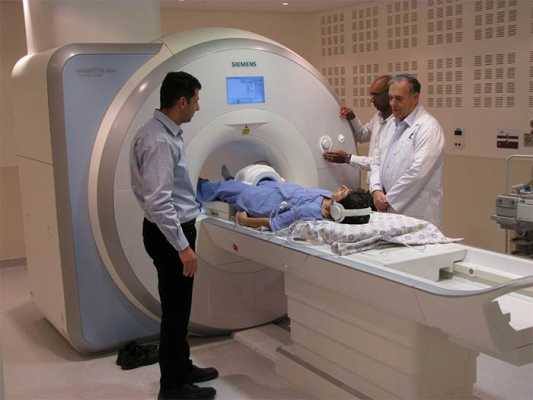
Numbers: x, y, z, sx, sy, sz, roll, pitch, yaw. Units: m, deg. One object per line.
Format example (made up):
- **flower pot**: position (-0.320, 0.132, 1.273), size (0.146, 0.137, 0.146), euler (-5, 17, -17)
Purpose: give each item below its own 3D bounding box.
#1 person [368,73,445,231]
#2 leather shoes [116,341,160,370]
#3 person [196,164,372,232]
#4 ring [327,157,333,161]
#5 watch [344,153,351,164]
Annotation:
- **person**: position (0.867, -0.299, 2.637), size (0.445, 0.933, 0.352), euler (3, 12, 23)
- **leather shoes**: position (-0.751, 0.898, 2.457), size (0.225, 0.106, 0.131), euler (-11, 21, -41)
- **person**: position (0.049, 0.011, 2.378), size (0.720, 0.202, 0.425), euler (14, 26, 36)
- **ring**: position (0.453, -0.288, 2.993), size (0.042, 0.034, 0.034), euler (-1, 12, 2)
- **watch**: position (0.588, -0.292, 3.029), size (0.051, 0.070, 0.077), euler (0, 12, 11)
